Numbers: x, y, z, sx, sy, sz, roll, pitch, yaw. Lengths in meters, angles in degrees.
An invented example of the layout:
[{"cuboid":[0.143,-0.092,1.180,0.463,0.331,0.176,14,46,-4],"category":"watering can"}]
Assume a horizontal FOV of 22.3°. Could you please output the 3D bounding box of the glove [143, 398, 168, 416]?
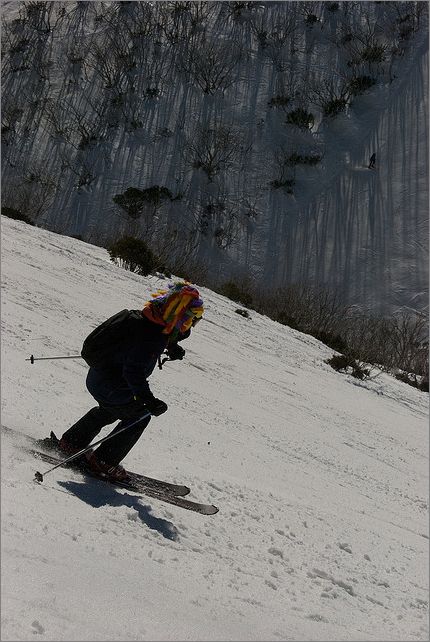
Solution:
[{"cuboid":[-1.089,1.589,20.294,0.387,0.309,0.262,12,-3,-1],"category":"glove"}]
